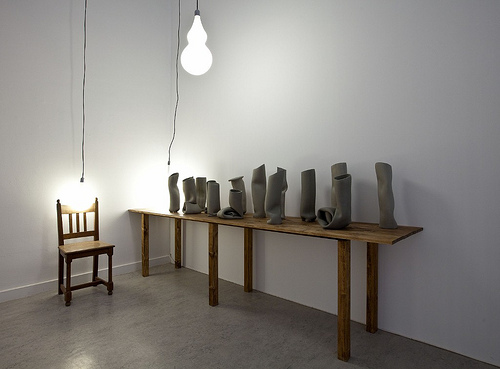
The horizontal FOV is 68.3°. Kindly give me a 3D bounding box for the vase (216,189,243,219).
[{"bbox_3d":[-0.188,0.183,3.526,0.264,0.280,0.167,2,13,17],"label":"vase"}]

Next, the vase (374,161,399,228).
[{"bbox_3d":[1.088,0.075,2.949,0.189,0.500,0.148,4,11,22],"label":"vase"}]

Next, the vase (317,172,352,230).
[{"bbox_3d":[0.687,0.120,3.012,0.251,0.419,0.351,2,11,10],"label":"vase"}]

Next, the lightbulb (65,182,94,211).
[{"bbox_3d":[-1.870,0.115,4.099,0.252,0.340,0.268,3,12,-13],"label":"lightbulb"}]

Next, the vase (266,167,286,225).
[{"bbox_3d":[0.232,0.110,3.317,0.173,0.470,0.475,1,11,6],"label":"vase"}]

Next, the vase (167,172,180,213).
[{"bbox_3d":[-0.855,0.088,4.122,0.110,0.411,0.226,-2,11,-13],"label":"vase"}]

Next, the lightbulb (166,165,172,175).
[{"bbox_3d":[-1.064,-0.192,4.849,0.083,0.128,0.035,2,11,12],"label":"lightbulb"}]

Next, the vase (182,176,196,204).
[{"bbox_3d":[-0.661,0.062,4.014,0.130,0.267,0.149,-2,11,-13],"label":"vase"}]

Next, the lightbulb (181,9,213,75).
[{"bbox_3d":[-0.462,-1.240,3.229,0.266,0.599,0.277,-1,5,-22],"label":"lightbulb"}]

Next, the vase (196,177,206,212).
[{"bbox_3d":[-0.532,0.106,3.989,0.106,0.357,0.130,-2,11,-9],"label":"vase"}]

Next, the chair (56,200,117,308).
[{"bbox_3d":[-1.726,0.669,3.829,0.405,0.993,0.487,4,4,45],"label":"chair"}]

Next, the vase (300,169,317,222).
[{"bbox_3d":[0.521,0.097,3.283,0.136,0.458,0.152,1,11,7],"label":"vase"}]
